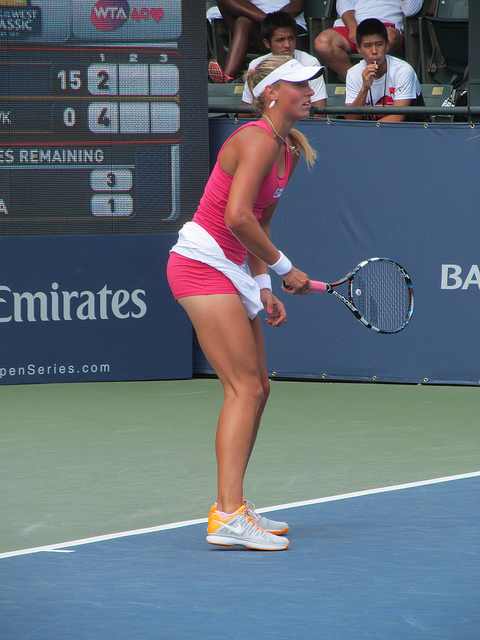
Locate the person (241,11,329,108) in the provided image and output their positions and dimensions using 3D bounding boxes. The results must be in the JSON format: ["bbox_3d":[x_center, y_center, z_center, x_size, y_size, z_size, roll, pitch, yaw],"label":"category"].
[{"bbox_3d":[0.402,-2.179,6.329,0.798,0.838,0.588,18,36,23],"label":"person"}]

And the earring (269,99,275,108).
[{"bbox_3d":[0.107,-0.732,2.470,0.007,0.027,0.001,40,8,6],"label":"earring"}]

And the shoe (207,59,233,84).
[{"bbox_3d":[-0.199,-2.493,7.462,0.240,0.246,0.371,-1,8,-1],"label":"shoe"}]

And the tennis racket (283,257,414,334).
[{"bbox_3d":[0.648,-0.203,4.781,0.093,0.467,1.212,-16,18,-37],"label":"tennis racket"}]

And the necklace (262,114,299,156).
[{"bbox_3d":[0.145,-0.654,2.631,0.041,0.164,0.049,-33,41,5],"label":"necklace"}]

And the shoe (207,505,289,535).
[{"bbox_3d":[0.023,0.687,2.520,0.281,0.105,0.093,17,-12,-8],"label":"shoe"}]

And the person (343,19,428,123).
[{"bbox_3d":[1.300,-2.216,6.620,0.720,0.936,0.834,1,8,10],"label":"person"}]

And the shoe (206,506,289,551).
[{"bbox_3d":[0.015,0.708,2.498,0.339,0.162,0.112,3,-9,-3],"label":"shoe"}]
